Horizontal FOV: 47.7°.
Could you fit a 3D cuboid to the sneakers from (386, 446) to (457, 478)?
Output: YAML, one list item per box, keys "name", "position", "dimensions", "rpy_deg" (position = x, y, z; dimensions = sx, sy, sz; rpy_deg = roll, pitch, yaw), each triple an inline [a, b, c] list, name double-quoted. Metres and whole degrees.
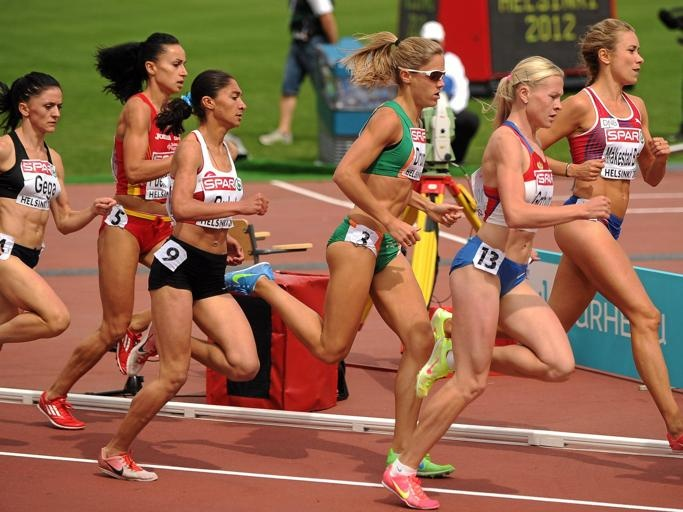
- name: "sneakers"
  position: [0.459, 1.308, 4.849]
  dimensions: [0.518, 0.236, 0.178]
  rpy_deg: [3, 4, -3]

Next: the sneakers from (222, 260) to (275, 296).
- name: "sneakers"
  position: [-0.568, 0.146, 5.112]
  dimensions: [0.419, 0.167, 0.151]
  rpy_deg: [-3, -26, 15]

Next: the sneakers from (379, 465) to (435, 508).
- name: "sneakers"
  position: [0.393, 1.316, 4.387]
  dimensions: [0.312, 0.254, 0.154]
  rpy_deg: [6, 13, 26]

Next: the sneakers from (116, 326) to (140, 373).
- name: "sneakers"
  position: [-1.591, 0.692, 5.720]
  dimensions: [0.173, 0.390, 0.129]
  rpy_deg: [-2, -6, 19]

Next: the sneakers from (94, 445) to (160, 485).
- name: "sneakers"
  position: [-1.297, 1.270, 4.747]
  dimensions: [0.443, 0.212, 0.157]
  rpy_deg: [10, 3, 2]

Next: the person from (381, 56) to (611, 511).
- name: "person"
  position: [0.856, 0.142, 4.490]
  dimensions: [1.177, 2.547, 0.715]
  rpy_deg: [-2, 12, -7]
